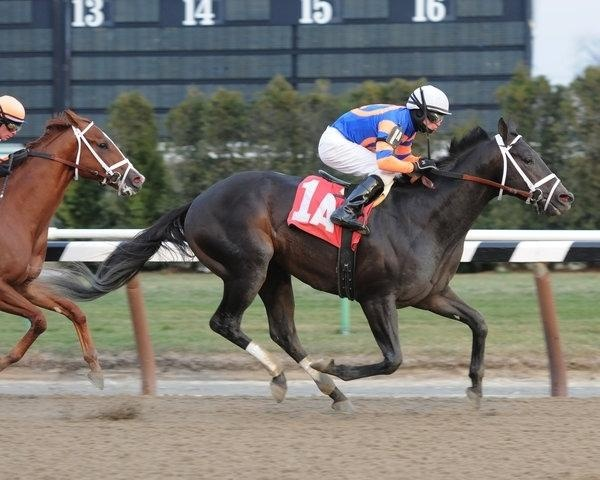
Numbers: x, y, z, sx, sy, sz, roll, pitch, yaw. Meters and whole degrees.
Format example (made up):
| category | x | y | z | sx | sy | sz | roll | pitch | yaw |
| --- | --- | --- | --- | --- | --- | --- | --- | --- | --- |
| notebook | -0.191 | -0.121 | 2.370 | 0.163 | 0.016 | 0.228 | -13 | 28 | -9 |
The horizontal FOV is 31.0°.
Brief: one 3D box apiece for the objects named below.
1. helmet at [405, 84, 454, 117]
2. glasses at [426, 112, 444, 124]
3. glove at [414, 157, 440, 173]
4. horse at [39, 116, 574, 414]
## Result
| category | x | y | z | sx | sy | sz | roll | pitch | yaw |
| --- | --- | --- | --- | --- | --- | --- | --- | --- | --- |
| helmet | 0.806 | -0.922 | 7.299 | 0.407 | 0.157 | 0.250 | -1 | -6 | 14 |
| glasses | 0.887 | -0.817 | 7.233 | 0.103 | 0.037 | 0.073 | 5 | -1 | 27 |
| glove | 0.822 | -0.496 | 7.213 | 0.201 | 0.097 | 0.096 | -4 | 13 | -18 |
| horse | -0.047 | 0.118 | 7.528 | 3.994 | 1.455 | 0.751 | -1 | -5 | 21 |
